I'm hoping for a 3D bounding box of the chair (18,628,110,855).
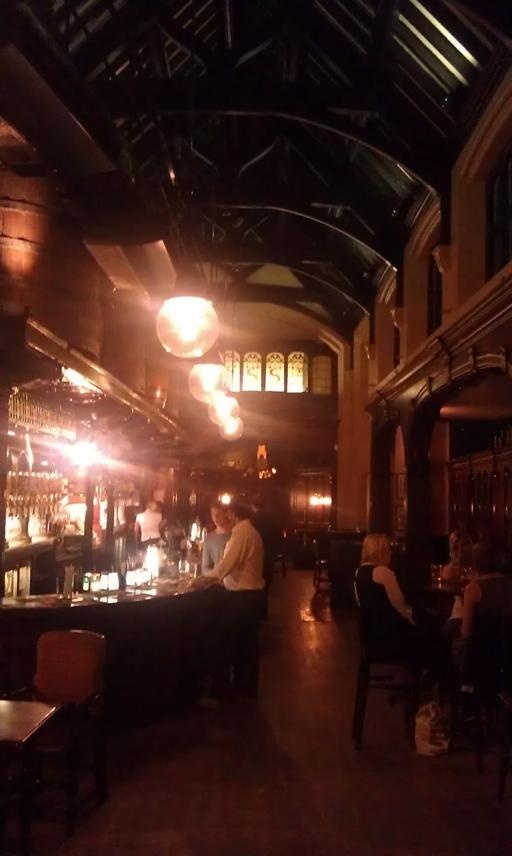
[{"bbox_3d":[-0.983,1.576,3.660,0.451,0.860,0.521,7,1,0],"label":"chair"}]

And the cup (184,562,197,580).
[{"bbox_3d":[-0.591,1.309,6.384,0.146,0.196,0.161,1,-15,2],"label":"cup"}]

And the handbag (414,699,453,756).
[{"bbox_3d":[1.174,2.000,4.618,0.198,0.341,0.232,3,-29,4],"label":"handbag"}]
